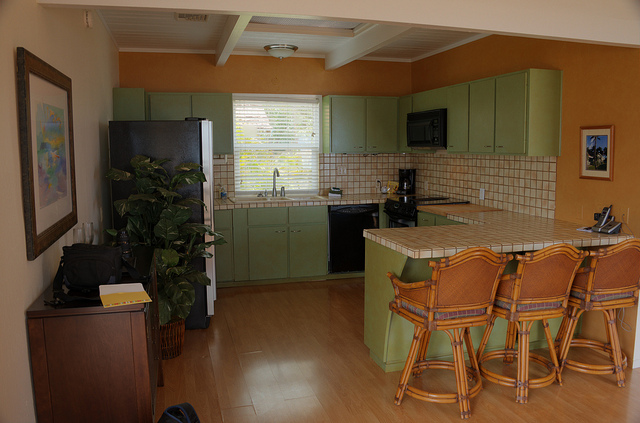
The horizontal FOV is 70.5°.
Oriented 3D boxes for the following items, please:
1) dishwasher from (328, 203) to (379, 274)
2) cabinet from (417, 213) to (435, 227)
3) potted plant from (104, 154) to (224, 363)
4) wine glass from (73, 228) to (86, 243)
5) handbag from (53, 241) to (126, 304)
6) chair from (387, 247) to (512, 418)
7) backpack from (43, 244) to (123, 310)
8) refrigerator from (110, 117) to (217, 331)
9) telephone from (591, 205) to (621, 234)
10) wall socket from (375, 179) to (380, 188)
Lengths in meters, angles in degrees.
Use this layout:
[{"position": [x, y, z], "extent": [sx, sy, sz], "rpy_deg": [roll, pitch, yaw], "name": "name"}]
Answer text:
[{"position": [0.426, 0.350, 6.496], "extent": [0.697, 1.008, 0.596], "rpy_deg": [-3, 9, -17], "name": "dishwasher"}, {"position": [1.322, 0.109, 5.650], "extent": [0.145, 0.141, 0.213], "rpy_deg": [0, 8, -12], "name": "cabinet"}, {"position": [-1.450, 0.438, 4.353], "extent": [0.912, 1.887, 1.325], "rpy_deg": [-5, 13, -16], "name": "potted plant"}, {"position": [-1.700, 0.168, 3.203], "extent": [0.080, 0.096, 0.175], "rpy_deg": [-8, 15, -28], "name": "wine glass"}, {"position": [-1.509, 0.387, 2.954], "extent": [0.435, 0.320, 0.368], "rpy_deg": [2, -5, -17], "name": "handbag"}, {"position": [1.018, 0.871, 3.716], "extent": [0.881, 1.337, 0.740], "rpy_deg": [-2, 13, -5], "name": "chair"}, {"position": [-1.566, 0.405, 2.974], "extent": [0.467, 0.329, 0.433], "rpy_deg": [0, -18, -17], "name": "backpack"}, {"position": [-1.491, -0.004, 4.983], "extent": [0.946, 2.446, 1.239], "rpy_deg": [-2, 6, -15], "name": "refrigerator"}, {"position": [2.699, 0.070, 4.240], "extent": [0.259, 0.227, 0.212], "rpy_deg": [-12, 17, -41], "name": "telephone"}, {"position": [0.908, -0.438, 7.175], "extent": [0.073, 0.130, 0.018], "rpy_deg": [-5, 14, -17], "name": "wall socket"}]
